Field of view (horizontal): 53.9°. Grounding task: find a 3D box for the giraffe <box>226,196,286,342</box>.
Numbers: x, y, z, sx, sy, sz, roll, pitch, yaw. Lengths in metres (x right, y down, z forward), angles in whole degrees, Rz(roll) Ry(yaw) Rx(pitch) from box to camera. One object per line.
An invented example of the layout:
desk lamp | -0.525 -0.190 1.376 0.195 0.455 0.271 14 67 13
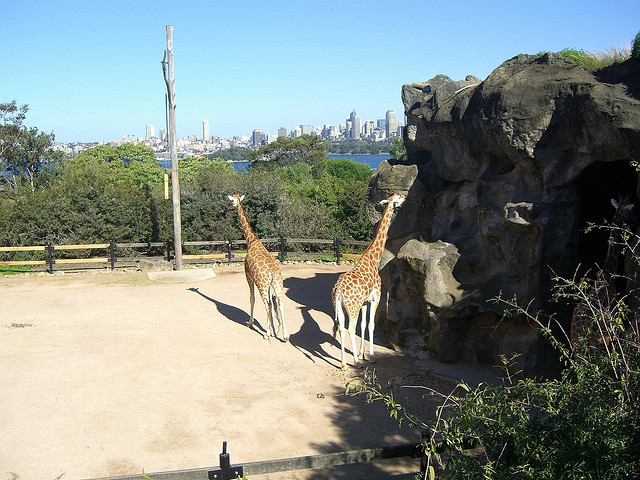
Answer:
giraffe | -1.530 0.629 16.153 1.386 3.411 2.597 -3 11 -26

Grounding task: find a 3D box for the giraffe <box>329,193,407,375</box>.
giraffe | 1.055 0.762 15.014 1.620 3.809 3.427 3 10 7
